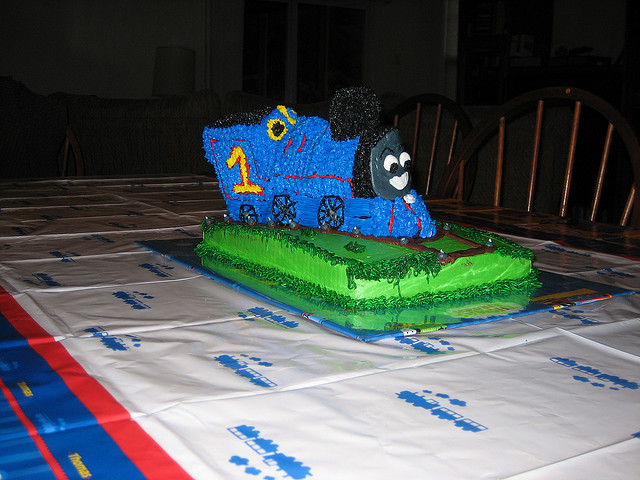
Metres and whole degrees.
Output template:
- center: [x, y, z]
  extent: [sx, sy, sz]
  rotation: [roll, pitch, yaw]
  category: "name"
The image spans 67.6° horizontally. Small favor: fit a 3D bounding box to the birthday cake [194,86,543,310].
- center: [-0.002, -0.146, 1.228]
  extent: [0.615, 0.321, 0.877]
  rotation: [-12, 19, -36]
  category: "birthday cake"
